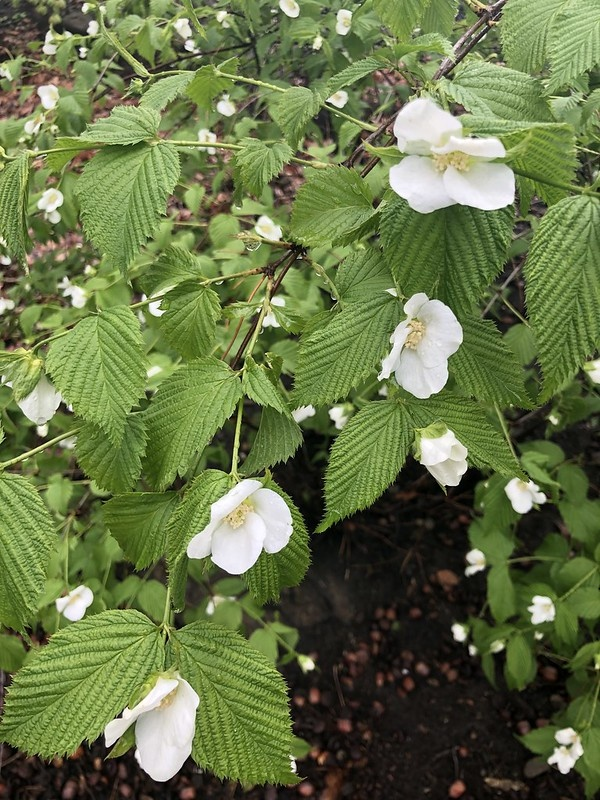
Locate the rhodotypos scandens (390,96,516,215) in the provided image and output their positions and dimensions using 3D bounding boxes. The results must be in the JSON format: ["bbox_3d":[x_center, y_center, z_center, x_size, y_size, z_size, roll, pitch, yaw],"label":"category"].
[{"bbox_3d":[0.215,-0.334,1.015,0.169,0.159,0.106,3,50,16],"label":"rhodotypos scandens"}]

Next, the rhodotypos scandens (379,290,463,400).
[{"bbox_3d":[0.181,-0.086,1.152,0.155,0.150,0.055,-7,34,-20],"label":"rhodotypos scandens"}]

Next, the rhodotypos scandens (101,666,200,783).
[{"bbox_3d":[-0.214,0.488,1.083,0.150,0.154,0.072,21,30,15],"label":"rhodotypos scandens"}]
